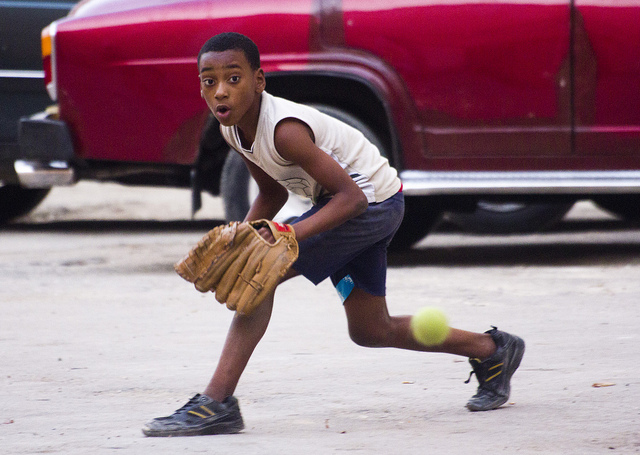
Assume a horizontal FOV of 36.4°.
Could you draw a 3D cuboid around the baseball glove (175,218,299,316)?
[{"bbox_3d":[-0.278,0.193,4.437,0.242,0.489,0.564,20,-23,-34],"label":"baseball glove"}]
